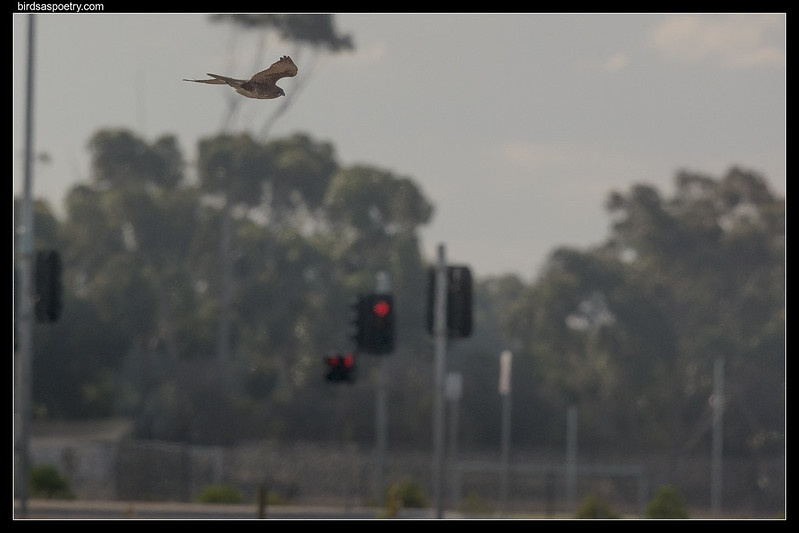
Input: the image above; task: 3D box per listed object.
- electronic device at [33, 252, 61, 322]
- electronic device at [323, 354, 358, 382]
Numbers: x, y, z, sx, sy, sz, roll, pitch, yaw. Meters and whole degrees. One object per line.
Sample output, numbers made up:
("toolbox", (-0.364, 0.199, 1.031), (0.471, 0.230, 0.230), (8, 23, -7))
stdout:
("electronic device", (-7.077, 0.481, 46.399), (0.532, 1.388, 0.233), (0, -10, -3))
("electronic device", (-1.157, 2.079, 46.321), (0.537, 0.561, 0.225), (1, 11, 0))
